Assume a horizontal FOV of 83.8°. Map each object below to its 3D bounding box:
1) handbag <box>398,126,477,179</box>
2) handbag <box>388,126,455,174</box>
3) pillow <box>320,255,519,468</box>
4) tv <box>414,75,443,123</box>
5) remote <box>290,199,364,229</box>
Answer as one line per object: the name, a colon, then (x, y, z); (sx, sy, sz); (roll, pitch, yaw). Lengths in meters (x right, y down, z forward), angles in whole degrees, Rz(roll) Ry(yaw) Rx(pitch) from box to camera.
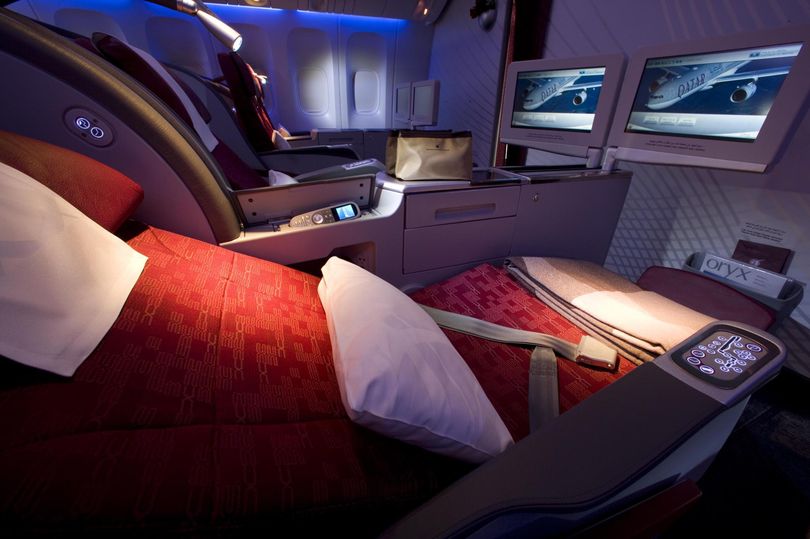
handbag: (0.124, -0.475, 1.853); (0.335, 0.213, 0.164); (1, 5, -1)
handbag: (0.081, -0.485, 1.859); (0.277, 0.198, 0.129); (-5, 18, -22)
pillow: (-0.011, 0.281, 1.429); (0.455, 0.235, 0.782); (17, 10, -15)
tv: (0.197, -1.447, 3.878); (0.082, 0.366, 0.488); (-2, 20, -24)
remote: (-0.285, -0.218, 1.768); (0.311, 0.094, 0.045); (-15, 4, -21)
